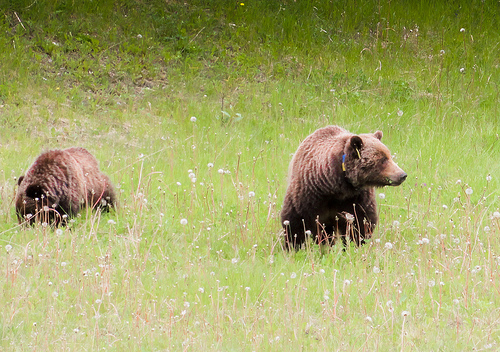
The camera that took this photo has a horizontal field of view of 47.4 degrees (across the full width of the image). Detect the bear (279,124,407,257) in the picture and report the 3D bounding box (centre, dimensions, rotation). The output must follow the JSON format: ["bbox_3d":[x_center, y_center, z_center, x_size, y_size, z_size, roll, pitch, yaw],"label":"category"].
[{"bbox_3d":[1.273,0.088,8.106,0.978,1.848,1.886,-8,8,-42],"label":"bear"}]

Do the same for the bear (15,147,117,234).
[{"bbox_3d":[-2.902,0.135,8.428,0.739,1.227,1.684,-1,8,31],"label":"bear"}]
